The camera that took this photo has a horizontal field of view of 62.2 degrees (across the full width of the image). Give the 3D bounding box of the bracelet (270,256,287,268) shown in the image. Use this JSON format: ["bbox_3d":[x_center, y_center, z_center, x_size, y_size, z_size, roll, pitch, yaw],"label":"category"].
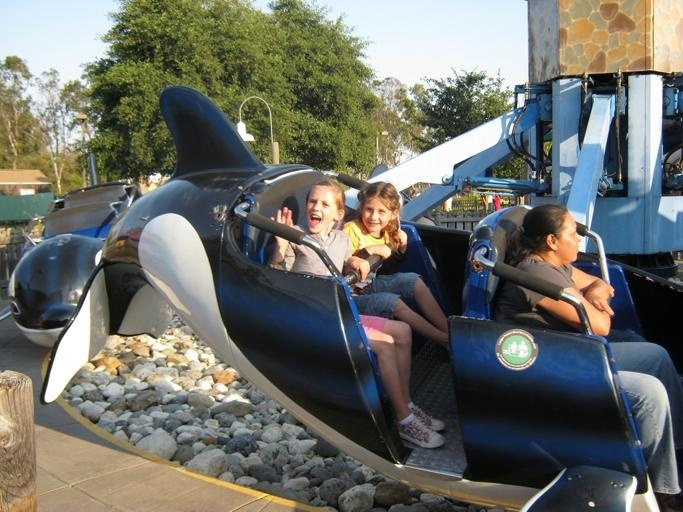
[{"bbox_3d":[-0.374,0.030,3.344,0.066,0.053,0.067,1,2,-5],"label":"bracelet"}]

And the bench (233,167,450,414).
[{"bbox_3d":[0.248,0.295,3.333,0.575,1.353,0.711,8,-5,-44],"label":"bench"}]

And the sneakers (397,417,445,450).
[{"bbox_3d":[0.418,0.945,3.068,0.284,0.128,0.121,5,14,36],"label":"sneakers"}]

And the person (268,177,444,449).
[{"bbox_3d":[0.071,0.262,3.285,0.671,1.407,1.171,-1,7,-42],"label":"person"}]
